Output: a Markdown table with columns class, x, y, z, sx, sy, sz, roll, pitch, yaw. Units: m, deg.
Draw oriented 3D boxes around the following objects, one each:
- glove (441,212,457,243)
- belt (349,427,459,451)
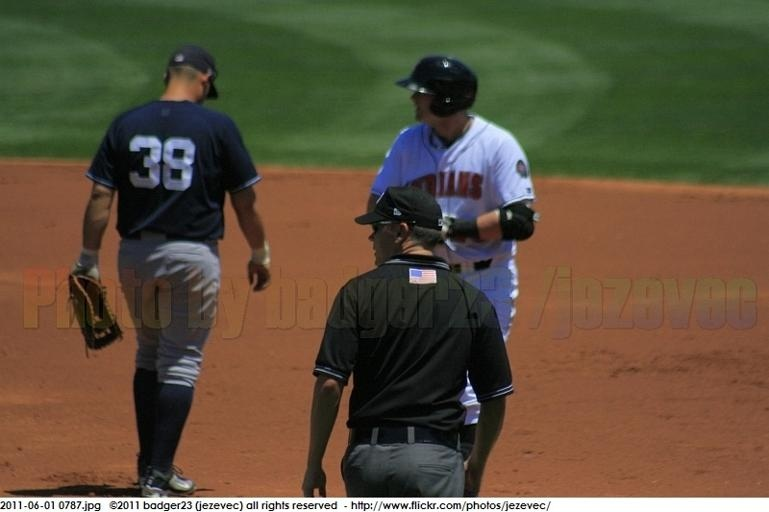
| class | x | y | z | sx | sy | sz | roll | pitch | yaw |
| --- | --- | --- | --- | --- | --- | --- | --- | --- | --- |
| glove | 0.990 | -0.426 | 25.732 | 0.298 | 0.348 | 0.126 | 7 | -12 | -4 |
| belt | 0.297 | 2.714 | 24.967 | 1.628 | 0.321 | 0.133 | 3 | 1 | 0 |
